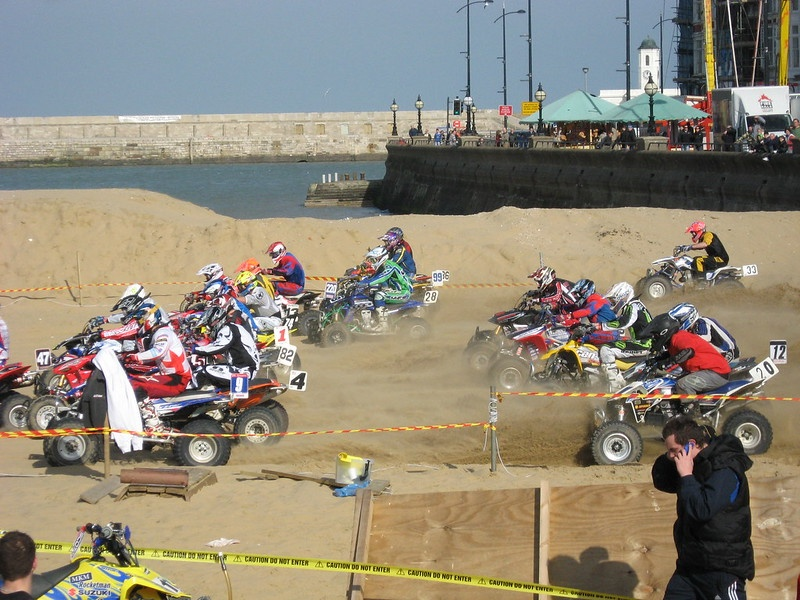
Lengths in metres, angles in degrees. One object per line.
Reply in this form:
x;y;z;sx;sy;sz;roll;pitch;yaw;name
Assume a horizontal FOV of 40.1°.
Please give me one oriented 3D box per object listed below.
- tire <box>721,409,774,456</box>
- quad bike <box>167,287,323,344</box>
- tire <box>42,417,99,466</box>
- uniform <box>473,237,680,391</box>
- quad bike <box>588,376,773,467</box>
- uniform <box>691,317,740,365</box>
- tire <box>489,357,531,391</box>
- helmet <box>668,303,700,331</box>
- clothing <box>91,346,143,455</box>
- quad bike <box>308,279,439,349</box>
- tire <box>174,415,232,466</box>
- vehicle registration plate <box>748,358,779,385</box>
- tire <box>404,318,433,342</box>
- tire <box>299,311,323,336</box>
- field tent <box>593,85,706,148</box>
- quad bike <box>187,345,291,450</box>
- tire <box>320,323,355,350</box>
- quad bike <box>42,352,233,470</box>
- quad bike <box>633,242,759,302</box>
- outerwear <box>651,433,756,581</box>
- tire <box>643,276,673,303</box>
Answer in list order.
4.991;1.901;15.503;0.267;0.659;0.779;3;-1;-45;tire
-2.904;0.215;22.051;2.761;1.252;1.116;8;20;-23;quad bike
-4.613;2.025;15.559;0.757;0.630;0.237;15;16;-6;tire
2.668;0.658;18.454;3.326;1.375;1.707;0;19;3;uniform
4.022;1.520;15.707;2.421;0.931;1.250;-5;15;12;quad bike
4.670;0.636;16.248;0.788;0.408;0.607;42;14;2;uniform
1.805;1.211;17.685;0.645;0.516;0.203;-3;4;2;tire
4.139;0.246;16.011;0.492;0.383;0.342;15;-8;6;helmet
-3.865;1.370;15.155;0.648;1.422;0.323;-2;2;-6;clothing
-0.293;0.130;21.858;2.626;1.097;1.340;-2;13;25;quad bike
-2.787;2.000;15.487;0.905;0.722;0.257;-1;4;-3;tire
5.123;1.000;15.483;0.360;0.325;0.305;-1;2;15;vehicle registration plate
0.351;0.615;21.733;0.446;0.369;0.146;-16;3;-15;tire
-1.821;0.482;22.295;0.167;0.473;0.541;17;-11;-37;tire
9.307;-6.997;40.770;2.644;0.990;2.722;-11;-14;44;field tent
-2.596;1.539;16.220;1.903;1.162;0.925;-3;18;7;quad bike
-1.200;0.727;21.508;0.615;0.491;0.215;1;7;-5;tire
-3.740;1.663;15.734;1.505;1.466;2.780;-15;14;-39;quad bike
6.569;-0.540;23.894;0.772;1.216;2.925;7;-5;-40;quad bike
3.095;2.051;10.833;0.737;1.412;0.376;-1;2;13;outerwear
5.669;-0.224;24.048;0.596;0.480;0.536;3;16;10;tire
